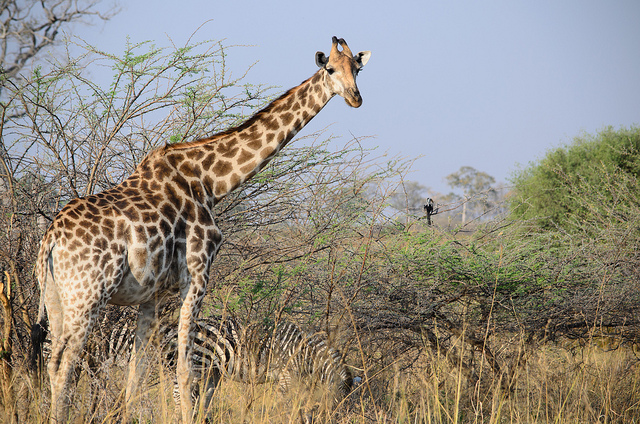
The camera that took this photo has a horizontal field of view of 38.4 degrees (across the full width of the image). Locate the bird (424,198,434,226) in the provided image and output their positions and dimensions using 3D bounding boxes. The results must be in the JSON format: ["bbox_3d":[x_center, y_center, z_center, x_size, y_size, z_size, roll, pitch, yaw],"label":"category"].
[{"bbox_3d":[1.987,0.003,16.891,0.149,0.527,0.300,-1,-11,4],"label":"bird"}]
